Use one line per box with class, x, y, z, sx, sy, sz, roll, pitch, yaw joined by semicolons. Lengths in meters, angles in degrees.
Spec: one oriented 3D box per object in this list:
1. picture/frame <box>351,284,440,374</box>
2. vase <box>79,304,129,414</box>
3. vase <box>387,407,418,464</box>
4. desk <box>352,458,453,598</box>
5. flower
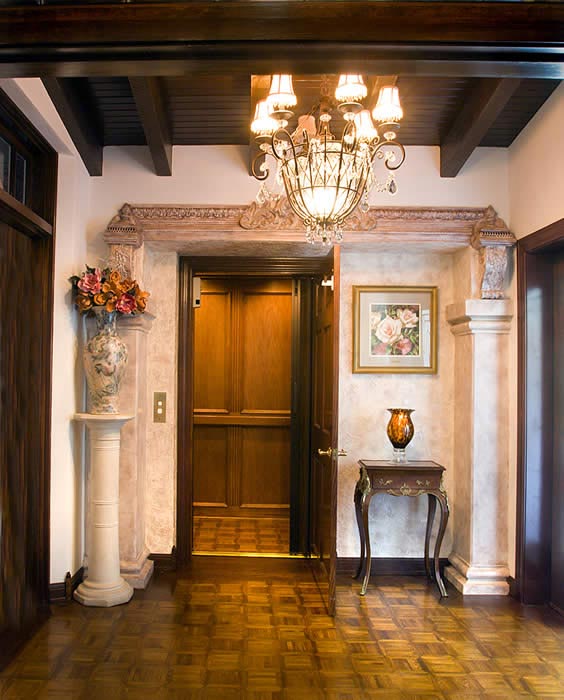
picture/frame;0.800;-0.126;4.390;0.608;0.626;0.044;0;-2;-2
vase;-1.068;0.079;3.719;0.224;0.620;0.195;0;-2;35
vase;0.782;0.570;4.084;0.165;0.350;0.167;0;-2;24
desk;0.693;1.170;4.407;0.774;1.133;0.792;1;-5;2
flower;-1.028;-0.356;3.800;0.347;0.252;0.403;9;19;31
